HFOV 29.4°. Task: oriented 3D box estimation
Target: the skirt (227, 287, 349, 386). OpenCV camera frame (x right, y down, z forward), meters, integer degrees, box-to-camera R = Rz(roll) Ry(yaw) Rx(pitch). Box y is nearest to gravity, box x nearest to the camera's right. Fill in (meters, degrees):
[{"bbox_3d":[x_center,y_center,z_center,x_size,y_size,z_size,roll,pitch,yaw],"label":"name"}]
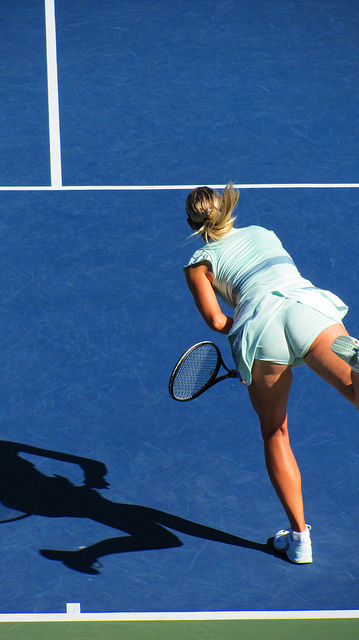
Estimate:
[{"bbox_3d":[0.526,0.052,3.947,0.669,0.392,0.911,-24,6,0],"label":"skirt"}]
